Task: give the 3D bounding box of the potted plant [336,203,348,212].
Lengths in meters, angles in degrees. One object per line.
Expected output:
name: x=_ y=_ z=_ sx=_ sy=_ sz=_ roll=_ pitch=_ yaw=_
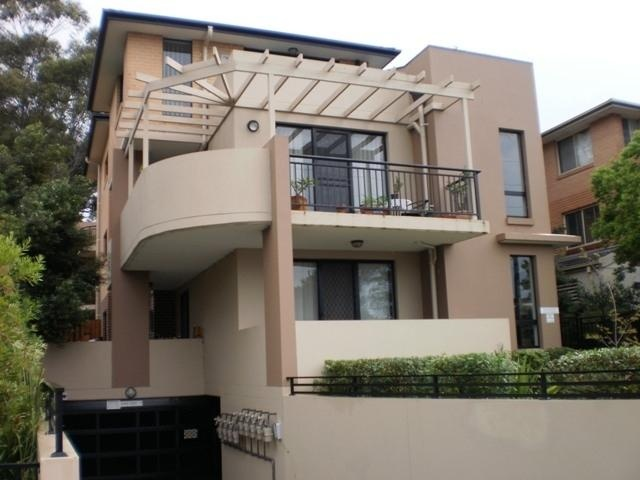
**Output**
potted plant: x=0.512 y=-0.750 z=14.270 sx=0.257 sy=0.271 sz=0.250 roll=2 pitch=-5 yaw=-15
